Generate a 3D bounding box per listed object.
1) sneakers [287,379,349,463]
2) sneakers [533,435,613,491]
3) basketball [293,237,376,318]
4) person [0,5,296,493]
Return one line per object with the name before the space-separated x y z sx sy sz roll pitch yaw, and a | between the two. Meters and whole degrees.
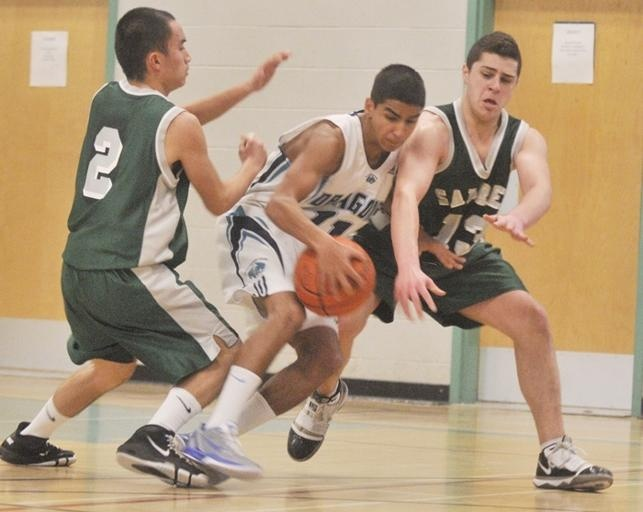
sneakers | -0.032 0.699 3.459 0.136 0.417 0.164 29 -24 10
sneakers | 0.913 0.777 3.129 0.344 0.224 0.137 -2 -12 12
basketball | 0.028 0.074 2.982 0.290 0.285 0.156 1 -2 31
person | -0.684 -0.063 3.069 0.800 1.245 0.460 2 -2 27
